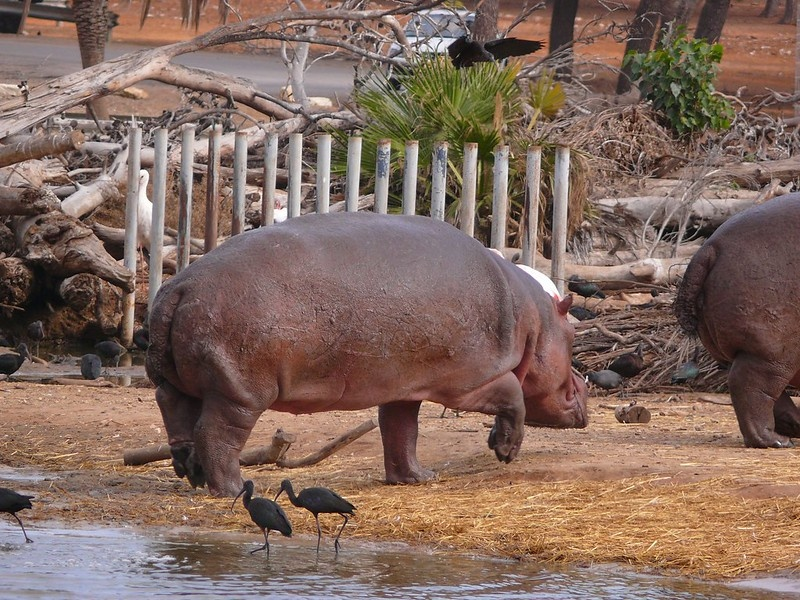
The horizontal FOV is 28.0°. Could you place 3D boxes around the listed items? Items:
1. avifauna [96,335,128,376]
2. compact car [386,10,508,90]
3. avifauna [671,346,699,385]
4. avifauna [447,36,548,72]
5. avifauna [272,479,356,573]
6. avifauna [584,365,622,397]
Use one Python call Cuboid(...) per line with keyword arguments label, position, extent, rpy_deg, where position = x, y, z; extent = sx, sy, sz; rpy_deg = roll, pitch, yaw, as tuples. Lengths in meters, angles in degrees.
Cuboid(label="avifauna", position=(-3.256, 0.602, 18.396), extent=(0.195, 0.267, 0.583), rpy_deg=(-12, 4, -20))
Cuboid(label="compact car", position=(0.695, -4.272, 25.946), extent=(1.643, 1.095, 2.837), rpy_deg=(0, 3, 7))
Cuboid(label="avifauna", position=(2.953, 0.694, 16.596), extent=(0.150, 0.206, 0.443), rpy_deg=(30, 57, 24))
Cuboid(label="avifauna", position=(0.975, -2.839, 18.377), extent=(1.055, 0.433, 0.213), rpy_deg=(-3, 47, -23))
Cuboid(label="avifauna", position=(-0.590, 1.533, 11.423), extent=(0.722, 0.494, 0.188), rpy_deg=(-5, -8, 32))
Cuboid(label="avifauna", position=(2.117, 0.814, 16.357), extent=(0.412, 0.164, 0.226), rpy_deg=(7, -33, -16))
